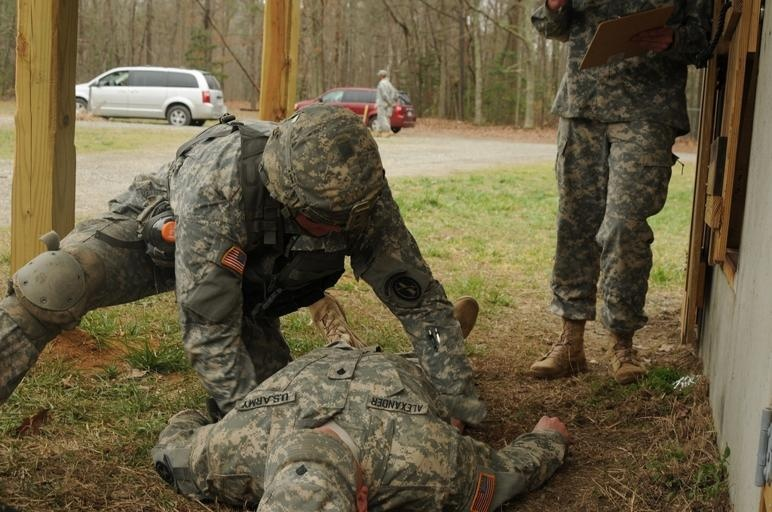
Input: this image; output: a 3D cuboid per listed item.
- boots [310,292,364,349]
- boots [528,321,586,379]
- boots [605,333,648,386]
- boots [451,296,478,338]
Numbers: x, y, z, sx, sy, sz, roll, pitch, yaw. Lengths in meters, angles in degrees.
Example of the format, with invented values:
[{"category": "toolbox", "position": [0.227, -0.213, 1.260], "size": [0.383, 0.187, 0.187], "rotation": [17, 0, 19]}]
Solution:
[{"category": "boots", "position": [-0.363, 0.495, 5.496], "size": [0.178, 0.233, 0.531], "rotation": [-38, 43, 12]}, {"category": "boots", "position": [1.120, 0.601, 5.419], "size": [0.447, 0.402, 0.185], "rotation": [-5, 6, -32]}, {"category": "boots", "position": [1.486, 0.632, 5.284], "size": [0.169, 0.260, 0.454], "rotation": [0, 7, 3]}, {"category": "boots", "position": [0.511, 0.403, 5.422], "size": [0.120, 0.133, 0.341], "rotation": [-1, 22, 2]}]
